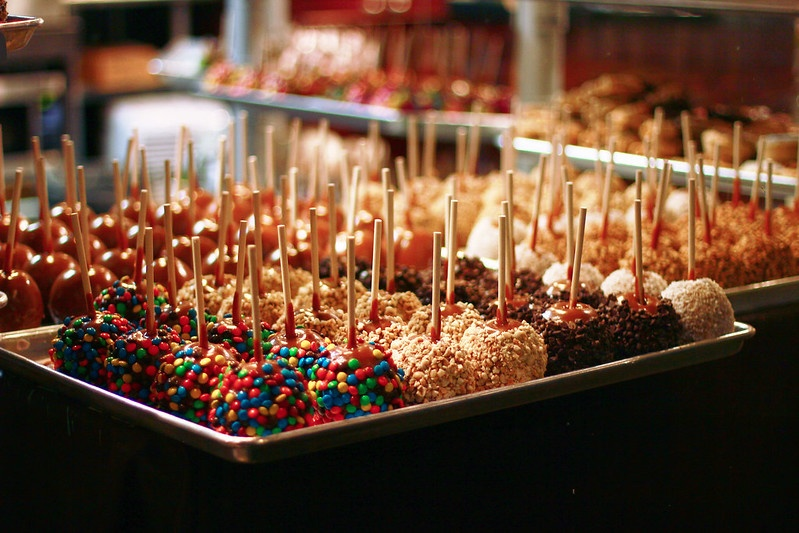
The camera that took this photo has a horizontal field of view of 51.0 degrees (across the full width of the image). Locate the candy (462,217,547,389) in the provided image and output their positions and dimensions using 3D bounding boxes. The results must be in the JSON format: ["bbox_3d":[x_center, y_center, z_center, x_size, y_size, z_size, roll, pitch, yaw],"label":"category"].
[{"bbox_3d":[0.198,0.064,1.576,0.160,0.312,0.135,-2,8,-7],"label":"candy"}]

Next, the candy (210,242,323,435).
[{"bbox_3d":[-0.251,0.173,1.471,0.156,0.254,0.135,-4,2,-17],"label":"candy"}]

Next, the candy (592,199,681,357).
[{"bbox_3d":[0.487,0.036,1.711,0.154,0.331,0.155,3,22,30],"label":"candy"}]

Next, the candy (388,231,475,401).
[{"bbox_3d":[0.088,0.057,1.534,0.132,0.293,0.145,-30,41,-30],"label":"candy"}]

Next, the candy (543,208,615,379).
[{"bbox_3d":[0.342,0.070,1.661,0.142,0.314,0.152,-22,26,-40],"label":"candy"}]

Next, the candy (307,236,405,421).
[{"bbox_3d":[-0.078,0.132,1.522,0.149,0.312,0.136,-1,2,-8],"label":"candy"}]

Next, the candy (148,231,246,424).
[{"bbox_3d":[-0.362,0.126,1.535,0.141,0.300,0.135,-5,-6,30],"label":"candy"}]

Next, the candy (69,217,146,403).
[{"bbox_3d":[-0.569,0.054,1.626,0.141,0.326,0.330,-3,8,-17],"label":"candy"}]
